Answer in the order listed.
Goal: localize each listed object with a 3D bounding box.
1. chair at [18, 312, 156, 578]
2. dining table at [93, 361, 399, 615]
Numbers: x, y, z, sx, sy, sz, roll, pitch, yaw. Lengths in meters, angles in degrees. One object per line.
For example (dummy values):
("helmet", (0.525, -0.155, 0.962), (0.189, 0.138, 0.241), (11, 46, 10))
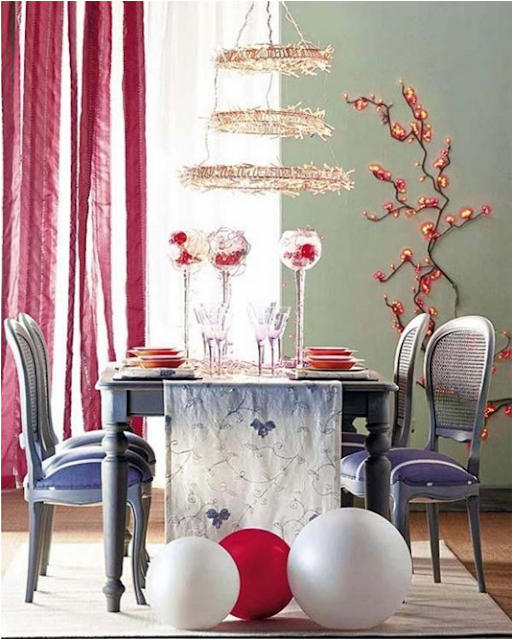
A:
("chair", (-0.528, 0.395, 2.156), (0.384, 0.759, 0.376), (1, 3, -10))
("dining table", (-0.046, 0.466, 1.845), (0.778, 0.631, 0.229), (1, -2, 0))
